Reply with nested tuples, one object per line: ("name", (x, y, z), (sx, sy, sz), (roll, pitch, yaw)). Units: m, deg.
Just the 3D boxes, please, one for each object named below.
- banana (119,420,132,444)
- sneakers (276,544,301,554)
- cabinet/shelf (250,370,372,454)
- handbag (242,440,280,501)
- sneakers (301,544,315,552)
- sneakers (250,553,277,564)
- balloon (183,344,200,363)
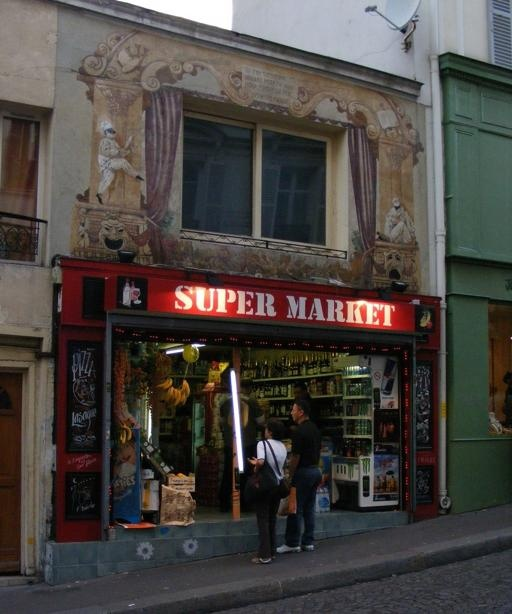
("banana", (-1.586, 1.538, 12.796), (0.160, 0.225, 0.082), (5, -8, -41))
("sneakers", (0.388, 2.904, 12.706), (0.276, 0.133, 0.104), (3, -10, -10))
("cabinet/shelf", (0.778, 1.437, 14.526), (1.029, 1.014, 0.320), (-6, -11, 29))
("handbag", (0.068, 1.877, 12.235), (0.271, 0.752, 0.506), (14, -22, -38))
("sneakers", (0.638, 2.924, 12.839), (0.065, 0.067, 0.151), (6, -7, -43))
("sneakers", (0.081, 2.911, 12.191), (0.271, 0.113, 0.099), (-8, -12, 31))
("balloon", (-0.853, 0.631, 13.852), (0.197, 0.224, 0.443), (-1, -8, 5))
